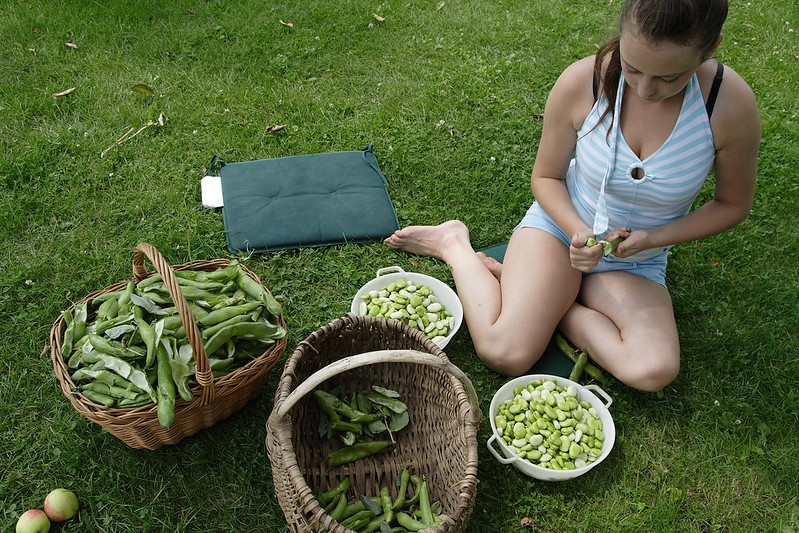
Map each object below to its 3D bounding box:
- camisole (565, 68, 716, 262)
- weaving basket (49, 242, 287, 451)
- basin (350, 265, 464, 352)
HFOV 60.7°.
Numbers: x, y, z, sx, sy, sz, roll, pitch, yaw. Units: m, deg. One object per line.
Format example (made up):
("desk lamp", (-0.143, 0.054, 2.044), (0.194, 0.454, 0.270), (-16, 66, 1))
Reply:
("camisole", (1.438, -0.560, 4.267), (0.978, 1.459, 0.845), (9, 73, 13))
("weaving basket", (-1.131, 0.293, 3.927), (1.219, 0.978, 0.975), (-27, 48, -11))
("basin", (0.044, 0.238, 4.318), (0.513, 0.246, 0.579), (-21, 56, -14))
